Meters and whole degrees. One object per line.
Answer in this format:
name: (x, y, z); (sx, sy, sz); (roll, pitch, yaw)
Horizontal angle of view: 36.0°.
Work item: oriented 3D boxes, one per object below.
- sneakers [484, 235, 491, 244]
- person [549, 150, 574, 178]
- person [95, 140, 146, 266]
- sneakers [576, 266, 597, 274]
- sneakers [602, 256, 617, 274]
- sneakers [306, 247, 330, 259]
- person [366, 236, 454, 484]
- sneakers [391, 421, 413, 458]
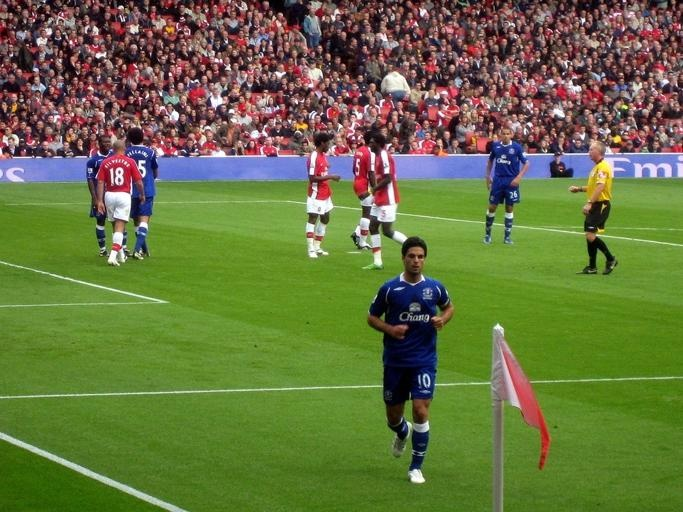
sneakers: (2.935, -0.334, 21.266); (0.167, 0.176, 0.445); (-2, -3, 6)
person: (7.309, -3.053, 35.389); (0.860, 1.105, 0.836); (-7, 10, -31)
person: (-3.770, -0.906, 17.847); (0.790, 2.105, 0.659); (-1, 9, -23)
sneakers: (4.119, 0.230, 17.837); (0.369, 0.152, 0.121); (0, -1, 2)
sneakers: (4.603, 0.162, 18.099); (0.154, 0.287, 0.098); (28, -13, -12)
sneakers: (-0.453, -0.066, 19.250); (0.430, 0.176, 0.142); (-3, 9, -6)
person: (0.571, 0.894, 9.332); (0.676, 2.104, 0.529); (5, 9, 14)
sneakers: (0.541, 1.621, 9.650); (0.141, 0.399, 0.177); (15, 2, 26)
